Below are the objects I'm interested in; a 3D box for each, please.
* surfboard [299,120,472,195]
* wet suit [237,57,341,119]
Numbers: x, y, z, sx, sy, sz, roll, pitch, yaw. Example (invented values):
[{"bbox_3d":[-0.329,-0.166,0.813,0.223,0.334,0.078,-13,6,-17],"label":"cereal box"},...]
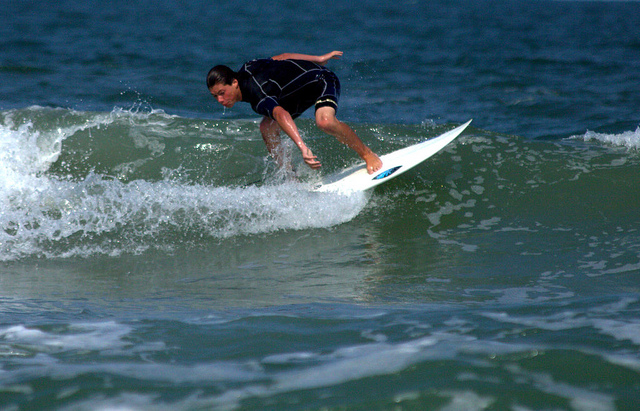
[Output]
[{"bbox_3d":[0.902,-0.639,12.911,3.035,0.226,0.413,-16,49,0],"label":"surfboard"},{"bbox_3d":[-0.418,-1.572,12.195,1.369,0.821,0.633,-1,10,-5],"label":"wet suit"}]
